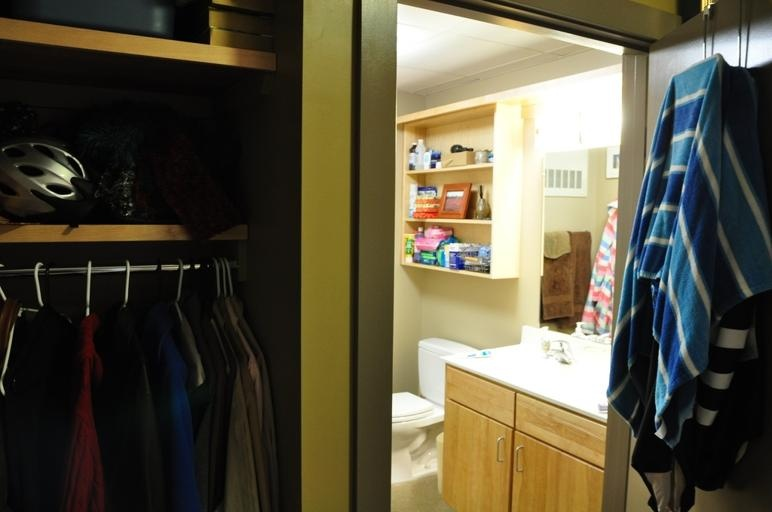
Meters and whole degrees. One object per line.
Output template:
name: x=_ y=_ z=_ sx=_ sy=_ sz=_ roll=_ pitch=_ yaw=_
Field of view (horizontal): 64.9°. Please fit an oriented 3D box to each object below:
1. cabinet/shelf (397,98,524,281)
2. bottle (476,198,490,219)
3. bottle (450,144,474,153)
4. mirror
cabinet/shelf: x=0.516 y=-0.453 z=4.030 sx=0.308 sy=1.255 sz=1.283 roll=-1 pitch=2 yaw=-28
bottle: x=0.621 y=-0.298 z=3.841 sx=0.080 sy=0.128 sz=0.074 roll=1 pitch=6 yaw=0
bottle: x=0.505 y=-0.718 z=4.084 sx=0.111 sy=0.046 sz=0.084 roll=0 pitch=0 yaw=-20
mirror: x=1.051 y=0.036 z=3.501 sx=0.324 sy=0.873 sz=0.062 roll=-5 pitch=14 yaw=-18
